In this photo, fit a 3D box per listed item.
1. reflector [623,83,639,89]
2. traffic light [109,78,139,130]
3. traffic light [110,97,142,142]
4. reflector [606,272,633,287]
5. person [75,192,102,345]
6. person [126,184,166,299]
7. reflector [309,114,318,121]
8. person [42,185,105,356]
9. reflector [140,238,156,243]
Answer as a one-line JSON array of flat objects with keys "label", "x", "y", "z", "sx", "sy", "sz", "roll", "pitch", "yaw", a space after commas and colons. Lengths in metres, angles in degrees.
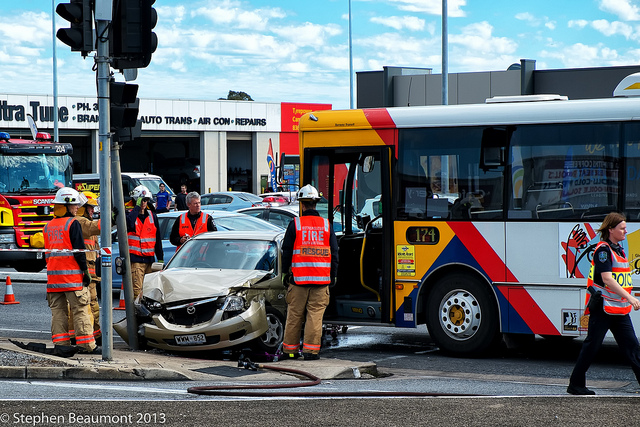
[{"label": "reflector", "x": 5.143, "y": -2.131, "z": 18.132, "sx": 0.153, "sy": 0.107, "sz": 0.007, "roll": 11, "pitch": -35, "yaw": 44}, {"label": "traffic light", "x": -3.056, "y": -1.732, "z": 17.152, "sx": 0.432, "sy": 0.793, "sz": 0.312, "roll": -1, "pitch": 4, "yaw": -10}, {"label": "traffic light", "x": -3.097, "y": -1.489, "z": 17.607, "sx": 0.701, "sy": 0.807, "sz": 0.480, "roll": 1, "pitch": 9, "yaw": -6}, {"label": "reflector", "x": 4.288, "y": 0.943, "z": 15.636, "sx": 0.229, "sy": 0.225, "sz": 0.234, "roll": -5, "pitch": -1, "yaw": 36}, {"label": "person", "x": -3.819, "y": 0.862, "z": 18.396, "sx": 0.529, "sy": 2.333, "sz": 0.638, "roll": 0, "pitch": 1, "yaw": -8}, {"label": "person", "x": -3.299, "y": 0.507, "z": 20.594, "sx": 0.691, "sy": 2.142, "sz": 0.720, "roll": 0, "pitch": -1, "yaw": 6}, {"label": "reflector", "x": -0.112, "y": -1.695, "z": 19.125, "sx": 0.081, "sy": 0.063, "sz": 0.184, "roll": -21, "pitch": 35, "yaw": -24}, {"label": "person", "x": -3.970, "y": 0.926, "z": 17.625, "sx": 0.835, "sy": 2.671, "sz": 1.171, "roll": -1, "pitch": 4, "yaw": -14}, {"label": "reflector", "x": -3.153, "y": 0.472, "z": 20.278, "sx": 0.267, "sy": 0.069, "sz": 0.049, "roll": -1, "pitch": 4, "yaw": -23}]
